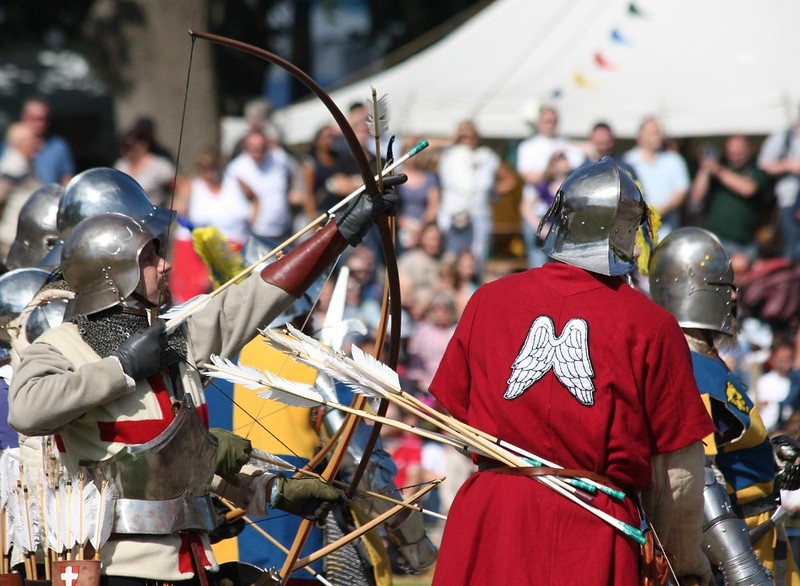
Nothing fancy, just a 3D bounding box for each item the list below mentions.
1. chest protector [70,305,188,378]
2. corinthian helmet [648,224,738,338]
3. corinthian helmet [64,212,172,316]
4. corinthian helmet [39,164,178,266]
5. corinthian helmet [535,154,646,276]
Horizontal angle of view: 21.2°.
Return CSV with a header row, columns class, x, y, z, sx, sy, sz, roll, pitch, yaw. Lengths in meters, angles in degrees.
class,x,y,z,sx,sy,sz,roll,pitch,yaw
chest protector,-1.852,0.347,14.933,0.695,0.510,0.587,9,15,33
corinthian helmet,2.135,-0.090,15.534,0.758,0.839,0.684,-1,-2,15
corinthian helmet,-2.021,-0.195,15.037,0.721,0.575,0.536,-1,-1,-19
corinthian helmet,-2.141,-0.693,15.626,0.778,0.487,0.733,-15,16,37
corinthian helmet,1.390,-0.557,14.898,0.764,0.844,0.948,9,9,-17
